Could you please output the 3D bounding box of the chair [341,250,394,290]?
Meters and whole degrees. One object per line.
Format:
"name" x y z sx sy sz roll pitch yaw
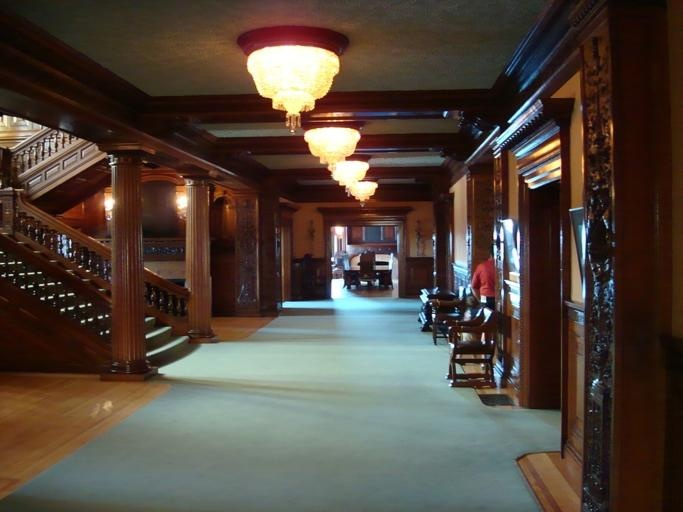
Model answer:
"chair" 1.047 0.601 21.486 1.396 0.986 2.406 0 4 5

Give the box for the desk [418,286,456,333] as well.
"desk" 1.982 1.054 10.526 0.775 0.822 1.305 1 0 7
